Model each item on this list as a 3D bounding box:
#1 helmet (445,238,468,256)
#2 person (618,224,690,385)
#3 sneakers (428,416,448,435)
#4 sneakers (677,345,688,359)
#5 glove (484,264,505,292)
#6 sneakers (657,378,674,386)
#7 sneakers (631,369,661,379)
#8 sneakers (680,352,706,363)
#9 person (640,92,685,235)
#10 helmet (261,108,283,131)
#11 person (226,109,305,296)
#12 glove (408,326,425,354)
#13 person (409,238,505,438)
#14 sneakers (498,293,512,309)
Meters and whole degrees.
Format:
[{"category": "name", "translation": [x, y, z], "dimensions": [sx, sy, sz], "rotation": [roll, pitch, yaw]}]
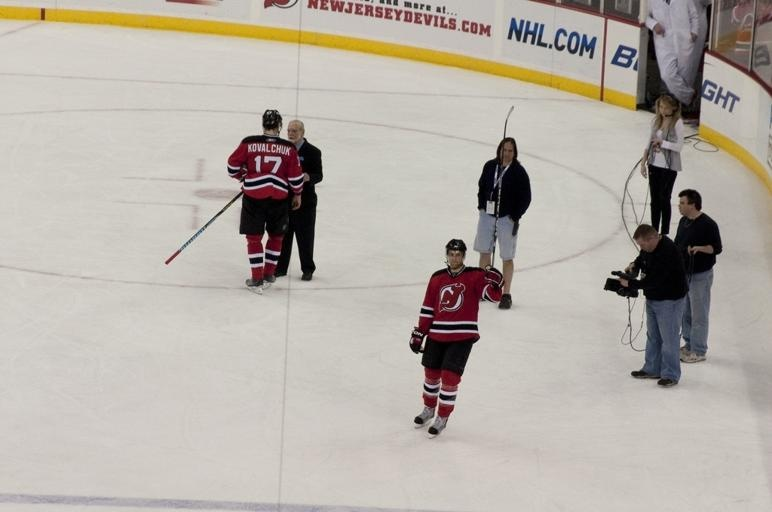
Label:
[{"category": "helmet", "translation": [0.759, -0.093, 12.808], "dimensions": [0.169, 0.185, 0.201], "rotation": [0, -13, 3]}, {"category": "person", "translation": [3.100, 0.529, 13.661], "dimensions": [0.848, 1.768, 0.558], "rotation": [11, 19, 17]}, {"category": "sneakers", "translation": [0.555, 1.799, 12.867], "dimensions": [0.108, 0.122, 0.313], "rotation": [14, 21, 28]}, {"category": "sneakers", "translation": [3.551, 1.131, 14.173], "dimensions": [0.118, 0.192, 0.059], "rotation": [8, -28, 27]}, {"category": "glove", "translation": [1.157, 0.231, 12.726], "dimensions": [0.218, 0.245, 0.184], "rotation": [6, 18, 3]}, {"category": "sneakers", "translation": [3.223, 1.424, 13.643], "dimensions": [0.186, 0.076, 0.072], "rotation": [-1, 18, -3]}, {"category": "sneakers", "translation": [3.016, 1.359, 13.776], "dimensions": [0.309, 0.127, 0.111], "rotation": [7, 0, 1]}, {"category": "sneakers", "translation": [3.647, 1.195, 14.111], "dimensions": [0.289, 0.120, 0.121], "rotation": [-4, 20, -5]}, {"category": "person", "translation": [3.727, -1.182, 16.073], "dimensions": [0.533, 1.953, 0.998], "rotation": [9, 18, 11]}, {"category": "helmet", "translation": [-1.434, -1.708, 15.007], "dimensions": [0.244, 0.285, 0.302], "rotation": [2, 11, 3]}, {"category": "person", "translation": [-1.488, -0.723, 15.092], "dimensions": [0.710, 2.173, 0.827], "rotation": [16, 21, 31]}, {"category": "glove", "translation": [0.346, 0.897, 12.894], "dimensions": [0.102, 0.257, 0.184], "rotation": [13, -2, -33]}, {"category": "person", "translation": [0.715, 0.872, 12.805], "dimensions": [0.866, 2.026, 0.653], "rotation": [6, 18, 3]}, {"category": "sneakers", "translation": [1.511, 0.567, 15.047], "dimensions": [0.139, 0.144, 0.347], "rotation": [1, 6, 12]}]
